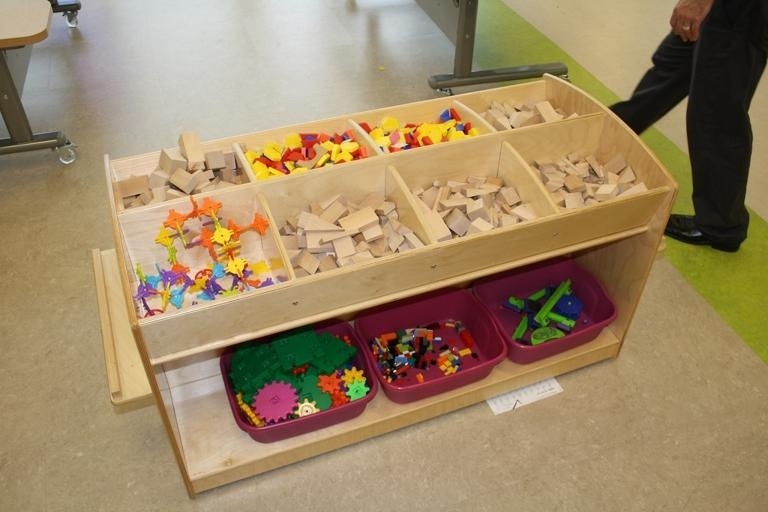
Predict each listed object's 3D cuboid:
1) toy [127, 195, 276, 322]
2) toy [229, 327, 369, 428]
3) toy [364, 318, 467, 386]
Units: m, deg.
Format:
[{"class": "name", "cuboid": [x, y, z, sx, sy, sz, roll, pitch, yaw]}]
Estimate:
[{"class": "toy", "cuboid": [-0.925, 0.063, 3.147, 0.798, 0.497, 0.590, -16, 81, -15]}, {"class": "toy", "cuboid": [-0.468, 0.641, 3.198, 0.593, 0.156, 0.481, -11, 60, -9]}, {"class": "toy", "cuboid": [0.216, 0.537, 3.443, 0.457, 0.108, 0.307, -10, 53, -16]}]
